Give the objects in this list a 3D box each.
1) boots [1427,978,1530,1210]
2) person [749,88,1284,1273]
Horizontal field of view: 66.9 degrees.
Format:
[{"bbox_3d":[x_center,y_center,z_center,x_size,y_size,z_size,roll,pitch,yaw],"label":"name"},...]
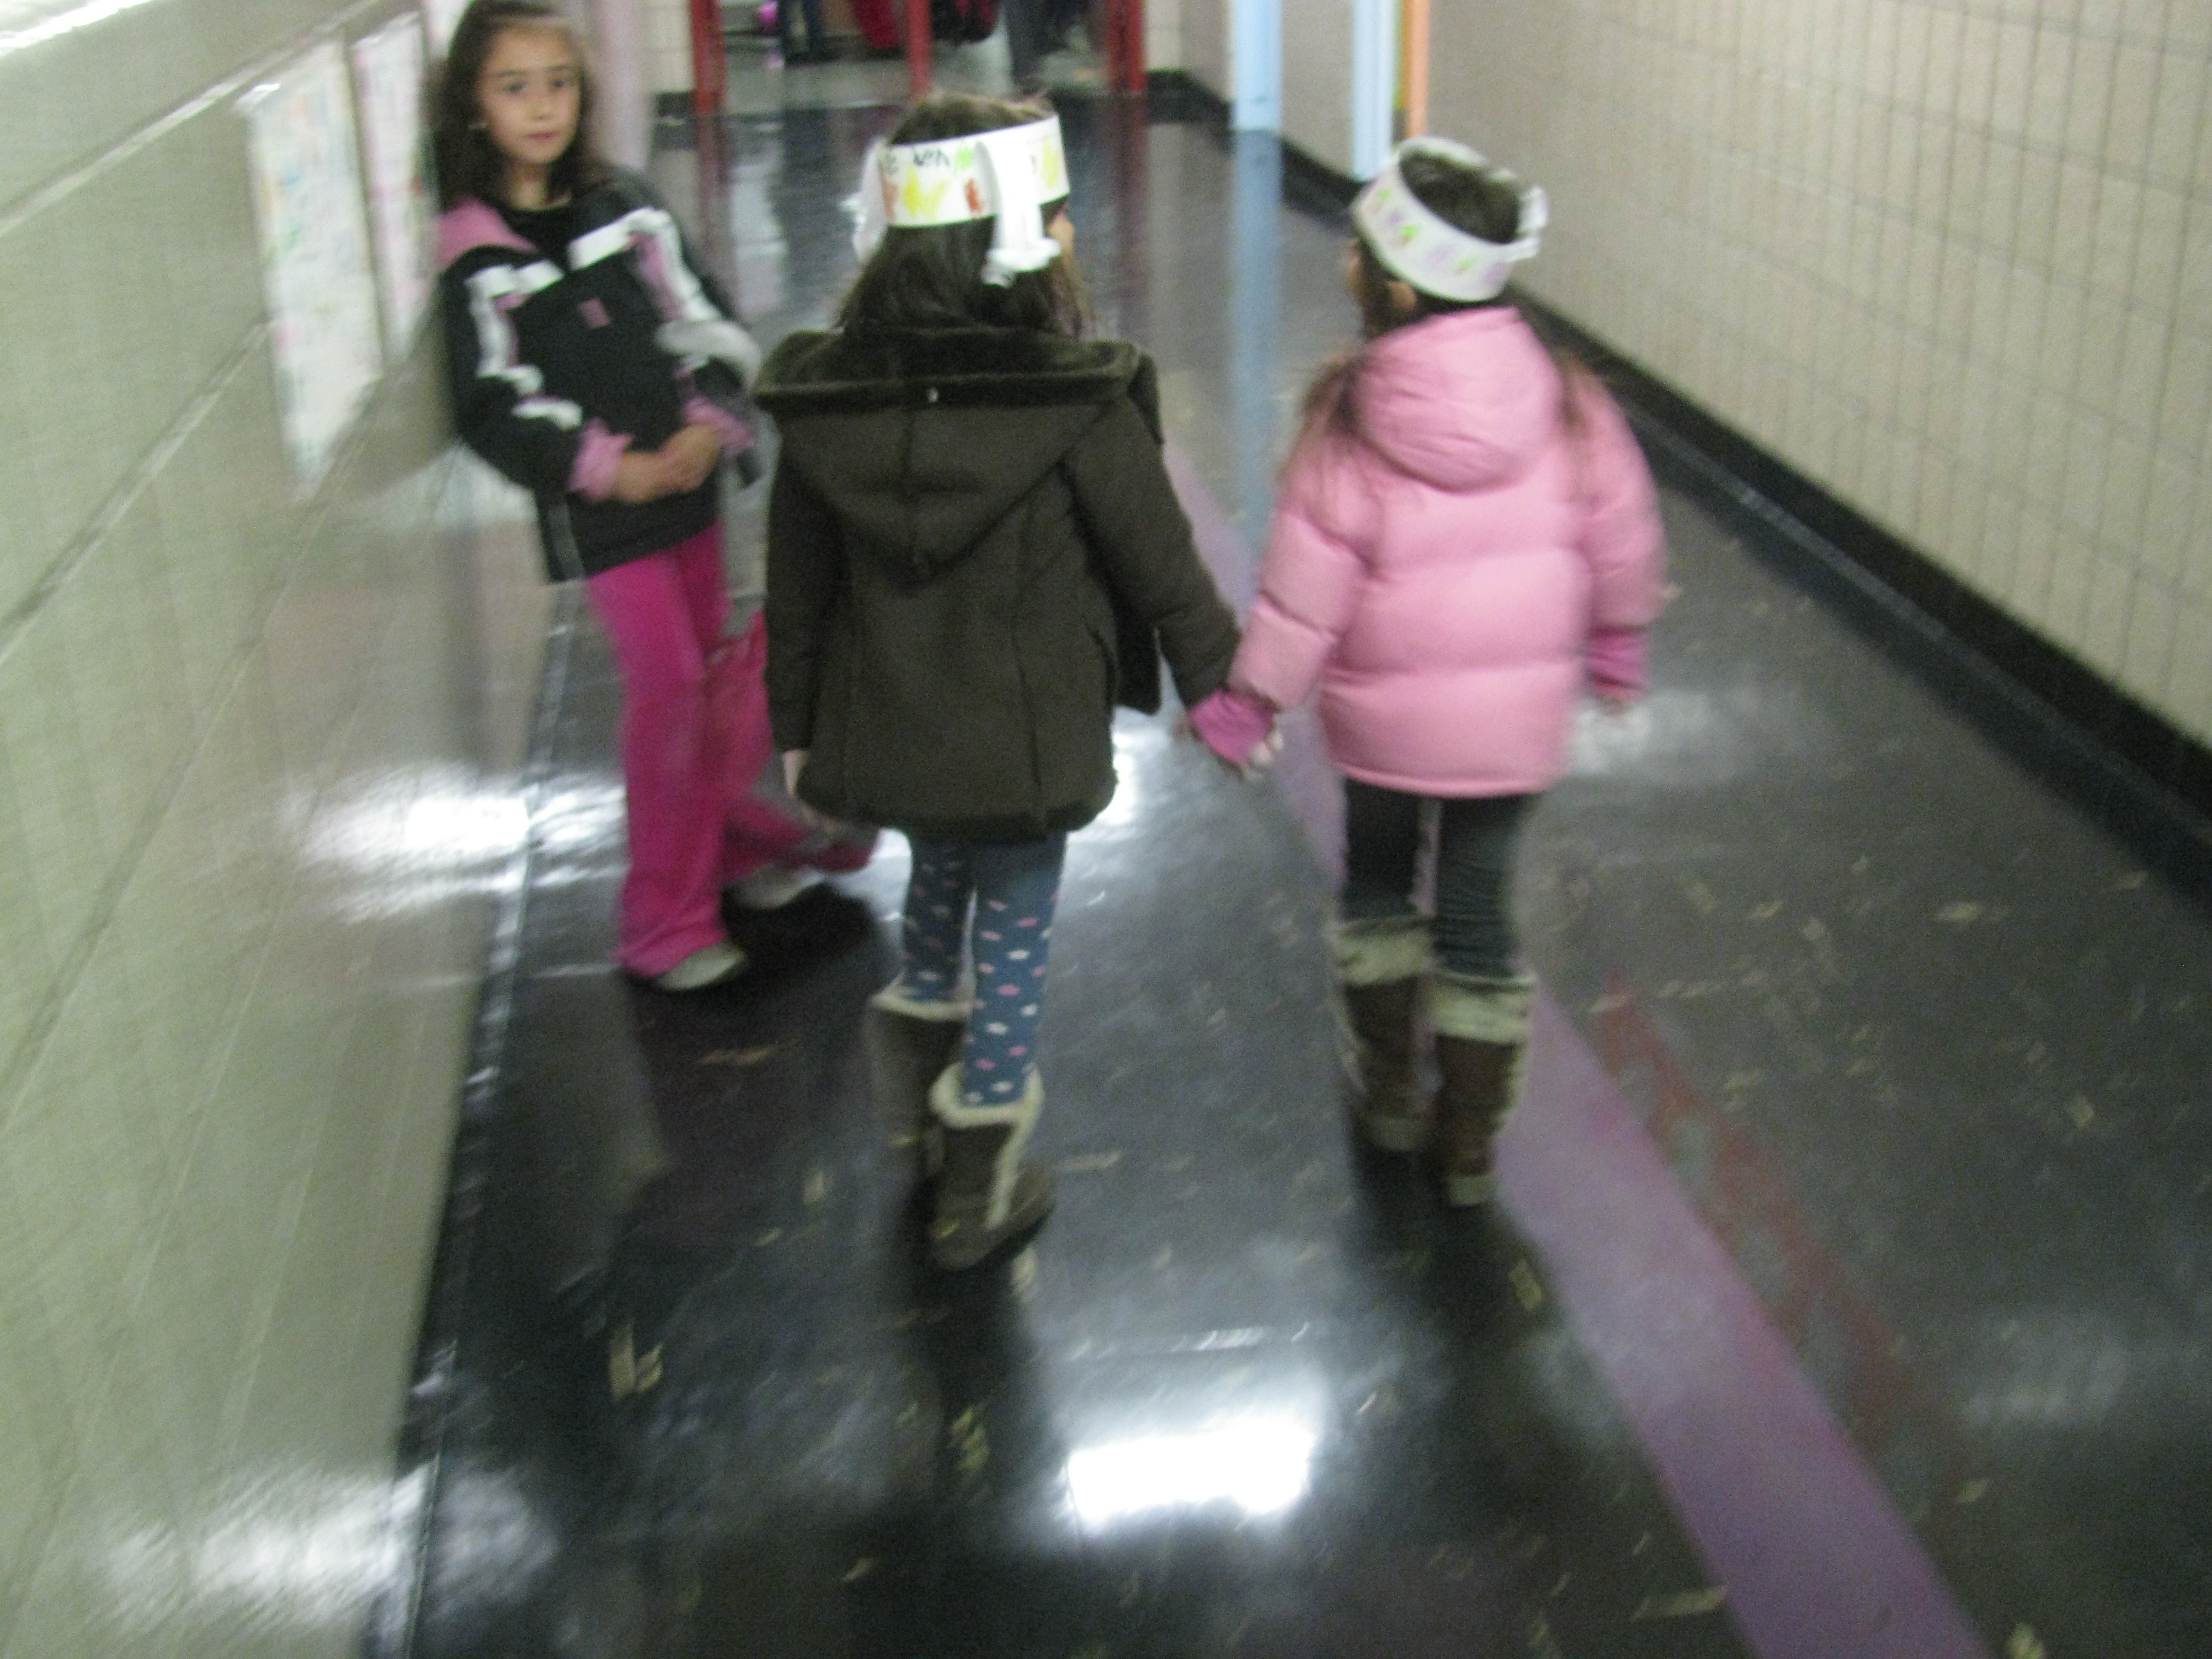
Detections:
[{"bbox_3d":[0.501,0.361,2.278,0.114,0.305,0.305,3,-4,7],"label":"boots"},{"bbox_3d":[-0.133,-0.166,2.174,0.592,1.436,0.425,0,19,-4],"label":"person"}]
